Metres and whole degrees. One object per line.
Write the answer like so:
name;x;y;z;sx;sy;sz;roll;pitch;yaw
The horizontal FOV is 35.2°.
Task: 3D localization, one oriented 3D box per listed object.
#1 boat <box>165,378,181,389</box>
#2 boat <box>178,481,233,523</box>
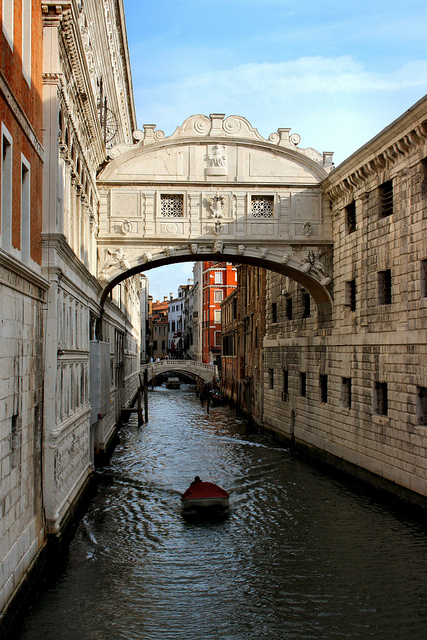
boat;-4.663;7.159;76.538;1.417;1.013;1.449;0;-2;11
boat;-0.230;4.589;17.043;1.237;0.702;1.278;0;-2;-3
